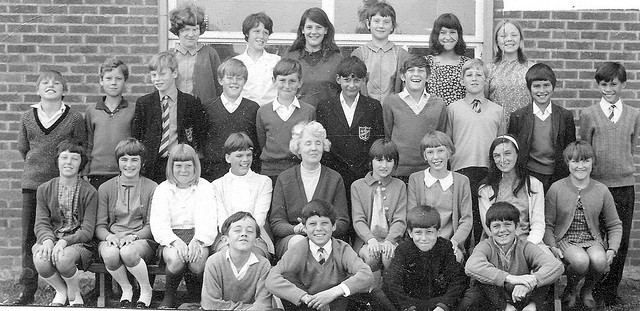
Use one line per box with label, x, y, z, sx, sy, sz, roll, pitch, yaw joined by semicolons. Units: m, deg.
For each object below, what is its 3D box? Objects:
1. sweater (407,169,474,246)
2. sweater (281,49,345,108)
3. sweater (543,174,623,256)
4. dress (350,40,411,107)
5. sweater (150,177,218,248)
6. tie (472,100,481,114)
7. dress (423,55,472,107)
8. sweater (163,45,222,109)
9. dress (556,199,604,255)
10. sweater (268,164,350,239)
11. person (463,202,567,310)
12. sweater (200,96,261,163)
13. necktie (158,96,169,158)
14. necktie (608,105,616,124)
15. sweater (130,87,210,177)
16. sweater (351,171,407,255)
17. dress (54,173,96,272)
sweater;1.438;0.567;6.779;0.508;0.774;0.801;-29;12;-18
sweater;-0.034;-0.916;7.068;0.775;0.598;0.380;0;28;18
sweater;2.839;0.636;6.617;0.925;0.682;0.523;0;10;30
dress;0.692;-0.915;6.986;1.082;0.800;0.479;0;0;-1
sweater;-1.426;0.594;6.176;0.705;0.661;0.205;1;-8;-1
tie;1.742;-0.547;6.808;0.086;0.103;0.041;-18;4;5
dress;1.454;-0.834;6.965;0.759;0.545;0.356;3;-4;1
sweater;-1.504;-0.941;7.108;0.802;0.359;0.882;-16;-29;-18
dress;2.925;0.742;6.735;0.562;0.655;0.688;-11;-2;22
sweater;-0.103;0.531;6.564;1.054;0.772;0.554;-4;15;23
person;1.979;1.037;6.262;0.954;1.087;0.241;-1;1;12
sweater;-0.967;-0.313;6.842;0.961;0.705;0.445;-2;5;10
necktie;-1.707;-0.318;6.688;0.092;0.680;0.127;-1;1;25
necktie;3.266;-0.481;6.840;0.060;0.158;0.104;18;-33;13
sweater;-1.642;-0.217;6.642;1.282;1.055;0.670;0;-3;-2
sweater;0.635;0.666;6.592;0.710;0.863;0.565;1;14;-7
dress;-2.601;0.719;6.470;0.411;0.984;0.236;-1;2;29
